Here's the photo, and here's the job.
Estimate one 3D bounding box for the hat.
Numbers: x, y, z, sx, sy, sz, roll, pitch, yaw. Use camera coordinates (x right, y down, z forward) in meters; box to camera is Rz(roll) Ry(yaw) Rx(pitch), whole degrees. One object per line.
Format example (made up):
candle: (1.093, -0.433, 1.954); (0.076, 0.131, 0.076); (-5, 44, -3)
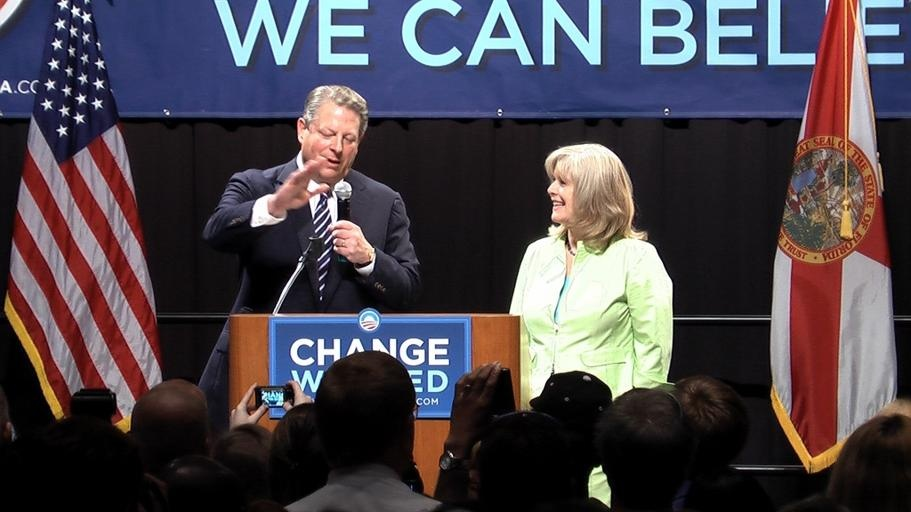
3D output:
hat: (0.544, 0.649, 4.502); (0.282, 0.166, 0.211); (9, 3, 17)

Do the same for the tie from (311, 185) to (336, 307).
tie: (-0.738, -0.067, 5.408); (0.109, 0.618, 0.288); (0, 0, -9)
